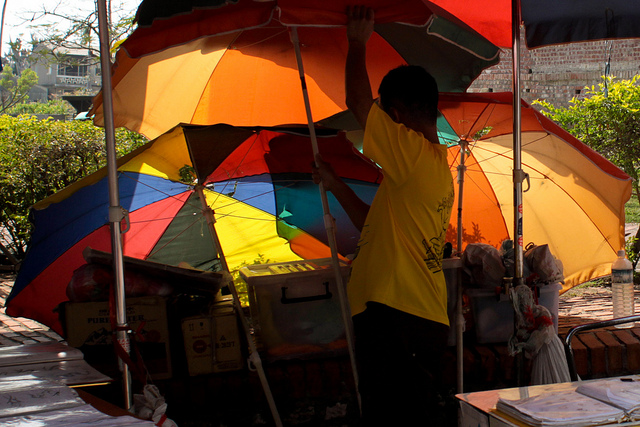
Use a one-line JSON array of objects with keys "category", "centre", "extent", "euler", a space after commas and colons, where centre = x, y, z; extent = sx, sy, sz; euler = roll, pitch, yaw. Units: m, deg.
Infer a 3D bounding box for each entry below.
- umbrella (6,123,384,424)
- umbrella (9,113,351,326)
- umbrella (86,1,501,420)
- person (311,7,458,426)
[{"category": "umbrella", "centre": [-1.461, -0.195, 7.222], "extent": [3.207, 2.866, 2.115], "euler": [-3, 35, -8]}, {"category": "umbrella", "centre": [-1.386, -0.072, 6.423], "extent": [2.614, 2.569, 0.948], "euler": [8, 30, 4]}, {"category": "umbrella", "centre": [-0.238, -0.049, 5.138], "extent": [2.819, 2.718, 2.873], "euler": [-19, -22, 20]}, {"category": "person", "centre": [0.539, 0.031, 4.355], "extent": [0.757, 2.824, 0.705], "euler": [-2, -5, 1]}]
